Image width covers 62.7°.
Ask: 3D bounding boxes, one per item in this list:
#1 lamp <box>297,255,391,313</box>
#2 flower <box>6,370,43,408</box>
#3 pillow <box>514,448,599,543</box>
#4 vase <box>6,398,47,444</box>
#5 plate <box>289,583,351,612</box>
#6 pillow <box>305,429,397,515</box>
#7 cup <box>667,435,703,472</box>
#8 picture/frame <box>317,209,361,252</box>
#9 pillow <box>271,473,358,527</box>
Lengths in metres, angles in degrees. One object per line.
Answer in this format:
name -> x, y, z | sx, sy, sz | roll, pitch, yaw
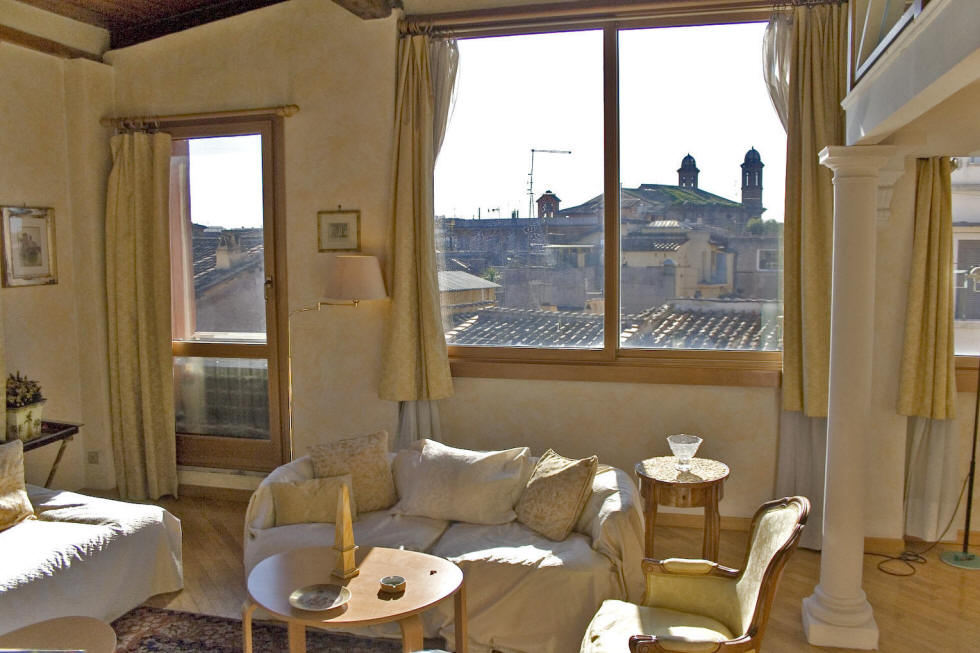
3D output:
lamp -> -1.168, -0.351, 6.513 | 0.577, 0.325, 0.397 | -3, 1, 25
flower -> -3.680, 0.500, 6.348 | 0.292, 0.122, 0.288 | -1, 6, -33
pillow -> 0.479, 1.130, 5.410 | 0.216, 0.534, 0.530 | 38, -16, -35
vase -> -3.579, 0.733, 6.312 | 0.256, 0.298, 0.311 | 2, 2, 26
plate -> -0.957, 1.536, 4.557 | 0.336, 0.071, 0.224 | -3, 6, -16
pillow -> -0.964, 1.058, 5.736 | 0.442, 0.417, 0.237 | -11, -17, -6
cup -> 1.383, 0.874, 5.650 | 0.245, 0.201, 0.266 | -1, -2, 0
picture/frame -> -1.226, -0.802, 6.685 | 0.352, 0.302, 0.033 | 2, 8, 14
pillow -> -1.204, 1.194, 5.470 | 0.449, 0.275, 0.157 | -1, -32, -2
